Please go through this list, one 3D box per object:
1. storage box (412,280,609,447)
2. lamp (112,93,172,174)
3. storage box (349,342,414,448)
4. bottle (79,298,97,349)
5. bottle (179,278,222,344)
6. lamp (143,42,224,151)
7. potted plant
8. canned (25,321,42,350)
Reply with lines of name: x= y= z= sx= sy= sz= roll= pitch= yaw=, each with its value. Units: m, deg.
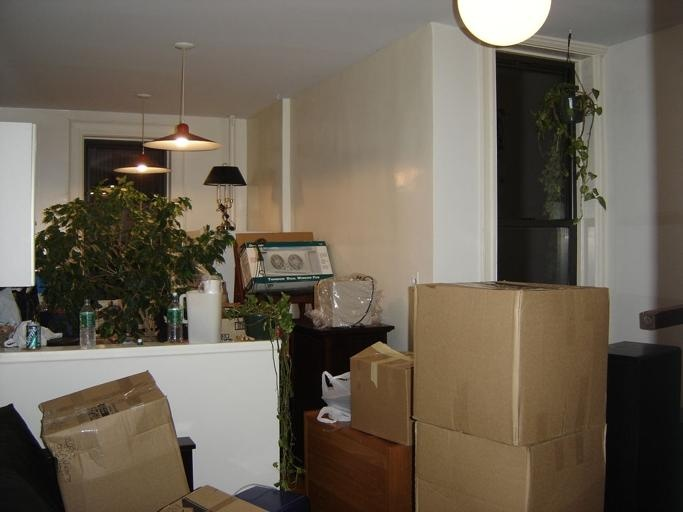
storage box: x=0.792 y=0.458 z=2.814 sx=0.807 sy=0.648 sz=0.841 roll=0 pitch=0 yaw=11
lamp: x=-2.259 y=-1.403 z=6.803 sx=0.665 sy=0.962 sz=0.692 roll=6 pitch=9 yaw=31
storage box: x=0.212 y=0.750 z=3.164 sx=0.221 sy=0.435 sz=0.407 roll=-6 pitch=14 yaw=-38
bottle: x=-1.258 y=0.336 z=2.991 sx=0.070 sy=0.254 sz=0.139 roll=-5 pitch=1 yaw=-24
bottle: x=-0.705 y=0.279 z=3.090 sx=0.194 sy=0.332 sz=0.175 roll=-5 pitch=1 yaw=-16
lamp: x=-1.542 y=-1.541 z=5.799 sx=0.750 sy=0.823 sz=0.705 roll=2 pitch=4 yaw=-40
potted plant: x=1.778 y=-0.835 z=4.642 sx=0.439 sy=0.794 sz=0.319 roll=-5 pitch=2 yaw=-28
canned: x=-1.497 y=0.385 z=2.937 sx=0.071 sy=0.151 sz=0.110 roll=-5 pitch=2 yaw=-30
